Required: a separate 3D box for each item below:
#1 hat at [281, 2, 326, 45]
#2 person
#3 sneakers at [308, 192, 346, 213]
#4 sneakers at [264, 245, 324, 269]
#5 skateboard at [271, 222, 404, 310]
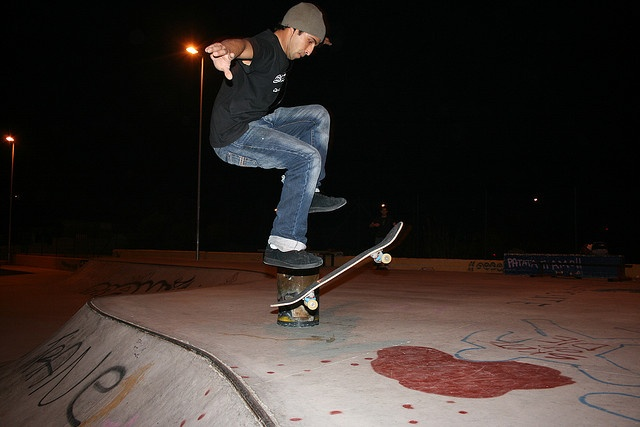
[{"bbox_3d":[-0.145,-1.954,4.676,0.472,0.328,0.316,1,26,-12],"label":"hat"},{"bbox_3d":[-0.484,-0.784,4.810,1.219,2.742,0.653,-1,7,-6],"label":"person"},{"bbox_3d":[0.151,-0.120,5.250,0.546,0.229,0.176,-2,9,2],"label":"sneakers"},{"bbox_3d":[-0.290,0.437,4.858,0.667,0.241,0.240,3,-1,6],"label":"sneakers"},{"bbox_3d":[0.452,0.859,7.956,1.921,0.316,0.465,-35,-7,-2],"label":"skateboard"}]
